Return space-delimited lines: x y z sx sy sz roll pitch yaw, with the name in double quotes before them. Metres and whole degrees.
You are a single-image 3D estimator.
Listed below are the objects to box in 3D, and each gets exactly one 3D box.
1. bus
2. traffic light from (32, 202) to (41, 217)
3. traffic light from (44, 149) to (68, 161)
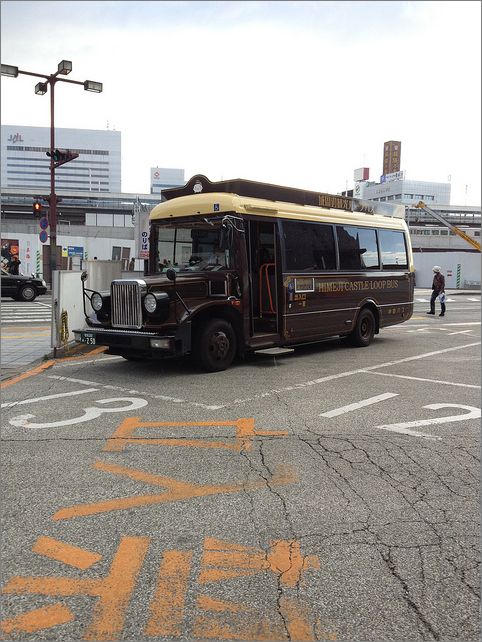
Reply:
"bus" 0.661 -1.041 10.784 2.725 3.315 7.980 3 6 42
"traffic light" -9.093 -4.964 22.364 0.227 0.635 0.751 0 2 -18
"traffic light" -8.249 -7.537 22.942 0.922 0.471 1.310 -1 15 -1
